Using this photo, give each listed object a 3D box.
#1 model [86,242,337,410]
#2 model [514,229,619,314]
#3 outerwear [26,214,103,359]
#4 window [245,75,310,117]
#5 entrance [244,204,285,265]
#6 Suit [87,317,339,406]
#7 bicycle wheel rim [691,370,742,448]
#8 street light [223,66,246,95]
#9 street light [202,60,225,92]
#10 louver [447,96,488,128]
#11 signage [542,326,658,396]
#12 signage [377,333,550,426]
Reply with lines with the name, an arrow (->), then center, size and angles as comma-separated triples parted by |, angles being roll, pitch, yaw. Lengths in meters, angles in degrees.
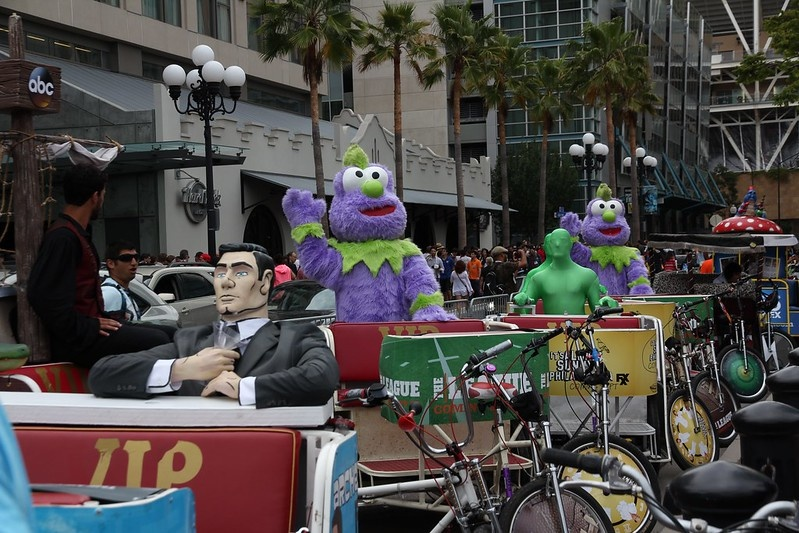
model -> -1.501, 0.531, 9.217 | 2.119, 1.720, 1.274 | -3, -16, 10
model -> 2.519, 0.070, 16.205 | 1.444, 1.458, 0.860 | -7, -12, 14
outerwear -> -3.110, 0.172, 10.418 | 0.611, 1.349, 1.434 | -1, 2, -6
window -> -4.325, -6.131, 39.465 | 0.282, 0.892, 4.522 | -1, -1, 23
entrance -> -4.227, -1.157, 31.832 | 1.316, 1.554, 0.127 | 7, -37, 6
Suit -> -1.463, 0.842, 9.204 | 2.180, 0.820, 1.277 | -2, 3, 12
bicycle wheel rim -> 3.532, 1.600, 12.241 | 0.167, 0.743, 0.730 | -23, 3, 29
street light -> -3.416, -3.931, 22.613 | 0.575, 0.702, 0.567 | 2, -1, -14
street light -> -3.657, -3.775, 21.712 | 0.474, 0.600, 0.486 | -1, 0, -5
louver -> 4.335, -9.182, 64.057 | 1.536, 1.742, 1.179 | -1, -1, 14
signage -> 2.166, 1.038, 11.669 | 1.184, 0.753, 0.714 | -1, -12, 5
signage -> 0.408, 0.960, 10.496 | 1.332, 0.758, 0.941 | -1, -3, -16
